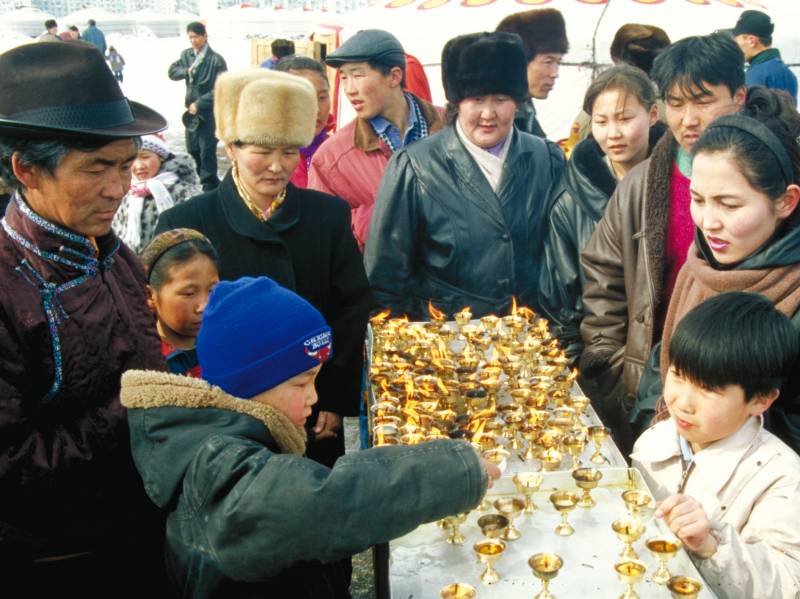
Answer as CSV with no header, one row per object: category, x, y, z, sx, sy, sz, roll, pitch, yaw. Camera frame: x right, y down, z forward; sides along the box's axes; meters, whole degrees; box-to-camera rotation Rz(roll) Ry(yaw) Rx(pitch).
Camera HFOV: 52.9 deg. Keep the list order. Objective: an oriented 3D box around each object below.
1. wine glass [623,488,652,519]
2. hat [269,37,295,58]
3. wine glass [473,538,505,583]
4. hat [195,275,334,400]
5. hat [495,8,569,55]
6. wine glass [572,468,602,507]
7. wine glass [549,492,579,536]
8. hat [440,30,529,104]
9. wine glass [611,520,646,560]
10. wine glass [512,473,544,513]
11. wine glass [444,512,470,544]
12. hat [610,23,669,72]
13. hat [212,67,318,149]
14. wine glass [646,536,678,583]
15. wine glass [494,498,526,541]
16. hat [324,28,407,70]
wine glass,0.792,0.672,2.682,0.090,0.074,0.088,5,43,15
hat,-0.995,-2.144,6.851,0.203,0.224,0.238,-4,34,-7
wine glass,0.287,0.834,2.516,0.087,0.085,0.097,19,39,-28
hat,-0.432,0.094,2.662,0.443,0.357,0.419,-8,20,4
hat,0.887,-1.751,5.247,0.281,0.273,0.371,-8,19,-15
wine glass,0.646,0.640,2.789,0.114,0.099,0.114,-3,12,-2
wine glass,0.550,0.720,2.705,0.112,0.121,0.111,-1,29,4
hat,0.534,-1.459,5.008,0.474,0.364,0.461,-2,22,-2
wine glass,0.722,0.749,2.537,0.106,0.115,0.102,-12,25,2
wine glass,0.443,0.646,2.763,0.123,0.134,0.119,-7,17,2
wine glass,0.192,0.741,2.693,0.092,0.101,0.110,-4,20,-6
hat,1.519,-1.549,4.923,0.312,0.282,0.442,-5,20,-11
hat,-0.662,-0.995,4.152,0.606,0.388,0.643,16,17,38
wine glass,0.820,0.801,2.493,0.117,0.128,0.114,-1,20,3
wine glass,0.362,0.704,2.660,0.128,0.145,0.122,-4,29,5
hat,-0.223,-1.737,5.505,0.603,0.249,0.413,-9,14,-20
